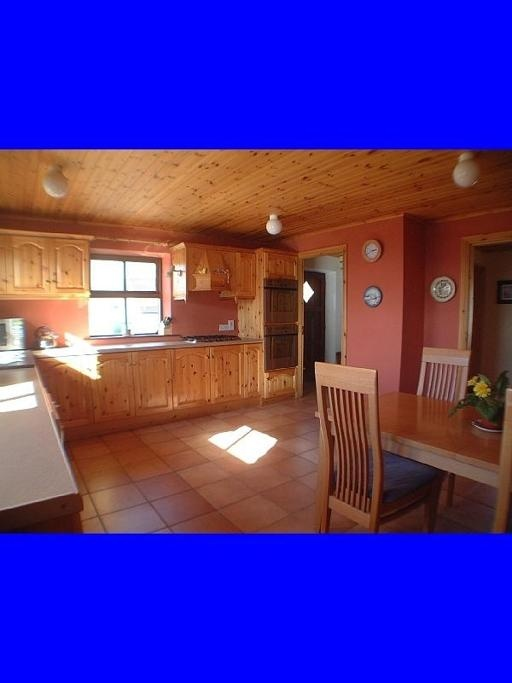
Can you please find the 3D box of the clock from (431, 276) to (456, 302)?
[{"bbox_3d":[1.852,-0.513,4.565,0.038,0.268,0.272,-6,1,-29],"label":"clock"}]

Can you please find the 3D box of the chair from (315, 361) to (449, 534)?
[{"bbox_3d":[0.510,0.469,2.025,0.531,0.789,0.358,-6,8,-41],"label":"chair"}]

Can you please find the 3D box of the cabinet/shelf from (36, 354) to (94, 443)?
[{"bbox_3d":[-1.585,0.475,3.863,0.425,0.728,0.170,-3,6,-21],"label":"cabinet/shelf"}]

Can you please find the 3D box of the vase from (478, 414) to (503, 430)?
[{"bbox_3d":[0.964,0.326,1.926,0.073,0.052,0.073,-1,-3,18],"label":"vase"}]

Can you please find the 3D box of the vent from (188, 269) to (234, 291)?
[{"bbox_3d":[-0.477,-0.674,5.059,0.176,0.221,0.512,4,8,43],"label":"vent"}]

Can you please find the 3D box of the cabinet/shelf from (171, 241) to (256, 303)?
[{"bbox_3d":[-0.472,-0.758,5.231,0.310,0.582,1.043,6,9,44],"label":"cabinet/shelf"}]

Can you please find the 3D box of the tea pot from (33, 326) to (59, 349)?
[{"bbox_3d":[-1.907,-0.038,4.186,0.160,0.211,0.227,8,12,33],"label":"tea pot"}]

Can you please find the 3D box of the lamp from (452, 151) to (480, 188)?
[{"bbox_3d":[1.262,-1.031,2.795,0.130,0.228,0.352,2,6,22],"label":"lamp"}]

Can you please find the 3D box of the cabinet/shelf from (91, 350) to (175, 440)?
[{"bbox_3d":[-1.180,0.398,4.368,0.713,0.633,0.272,-5,8,-27],"label":"cabinet/shelf"}]

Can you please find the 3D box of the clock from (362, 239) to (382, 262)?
[{"bbox_3d":[1.168,-0.906,4.683,0.060,0.229,0.242,-4,6,-27],"label":"clock"}]

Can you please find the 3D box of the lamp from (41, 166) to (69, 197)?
[{"bbox_3d":[-1.225,-0.982,2.828,0.116,0.212,0.407,-3,6,-21],"label":"lamp"}]
